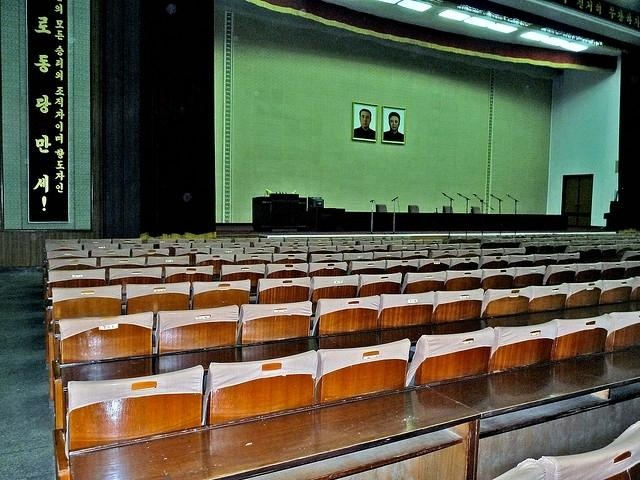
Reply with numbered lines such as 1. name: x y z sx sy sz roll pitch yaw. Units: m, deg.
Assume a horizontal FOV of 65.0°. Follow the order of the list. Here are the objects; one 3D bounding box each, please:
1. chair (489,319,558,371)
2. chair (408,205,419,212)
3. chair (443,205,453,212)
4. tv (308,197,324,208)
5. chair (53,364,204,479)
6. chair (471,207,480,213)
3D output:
1. chair: 1.491 0.748 3.884 0.383 0.508 0.401 0 9 -12
2. chair: 2.955 -1.006 16.027 0.300 0.192 0.288 0 9 0
3. chair: 4.197 -1.049 16.630 0.390 0.254 0.201 0 -4 -19
4. tv: -0.088 -1.051 13.614 0.339 0.212 0.325 2 -2 -24
5. chair: -1.090 0.853 2.886 0.727 0.649 0.519 0 4 -26
6. chair: 5.212 -1.033 16.978 0.386 0.247 0.204 0 -1 -29
